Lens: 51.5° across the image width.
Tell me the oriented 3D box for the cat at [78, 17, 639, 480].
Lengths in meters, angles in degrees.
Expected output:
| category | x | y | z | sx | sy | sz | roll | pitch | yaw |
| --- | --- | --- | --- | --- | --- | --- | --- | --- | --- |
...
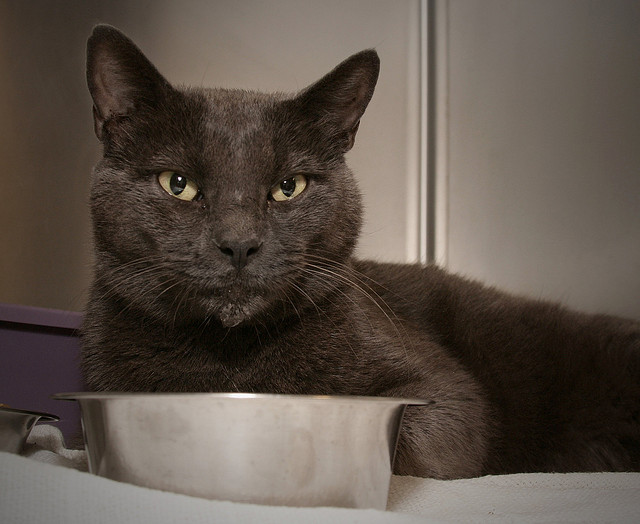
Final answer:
| category | x | y | z | sx | sy | sz | roll | pitch | yaw |
| --- | --- | --- | --- | --- | --- | --- | --- | --- | --- |
| cat | 0.295 | 0.194 | 1.938 | 2.122 | 1.107 | 0.655 | 10 | -14 | -28 |
